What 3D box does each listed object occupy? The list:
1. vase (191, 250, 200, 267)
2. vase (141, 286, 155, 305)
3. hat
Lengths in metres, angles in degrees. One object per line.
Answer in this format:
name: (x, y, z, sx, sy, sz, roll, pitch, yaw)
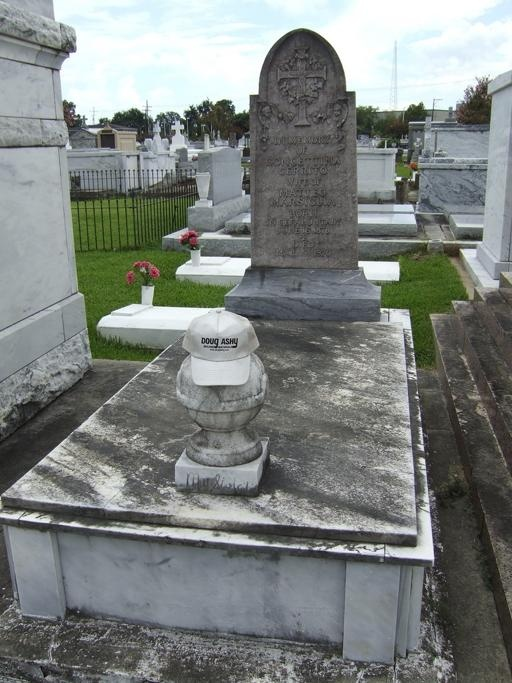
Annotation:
vase: (-0.981, -1.372, 8.449, 0.142, 0.288, 0.287, -4, 19, -11)
vase: (-1.302, -0.540, 6.236, 0.133, 0.258, 0.370, -4, 19, -13)
hat: (-0.107, 0.022, 1.551, 0.180, 0.104, 0.245, 0, 50, 0)
